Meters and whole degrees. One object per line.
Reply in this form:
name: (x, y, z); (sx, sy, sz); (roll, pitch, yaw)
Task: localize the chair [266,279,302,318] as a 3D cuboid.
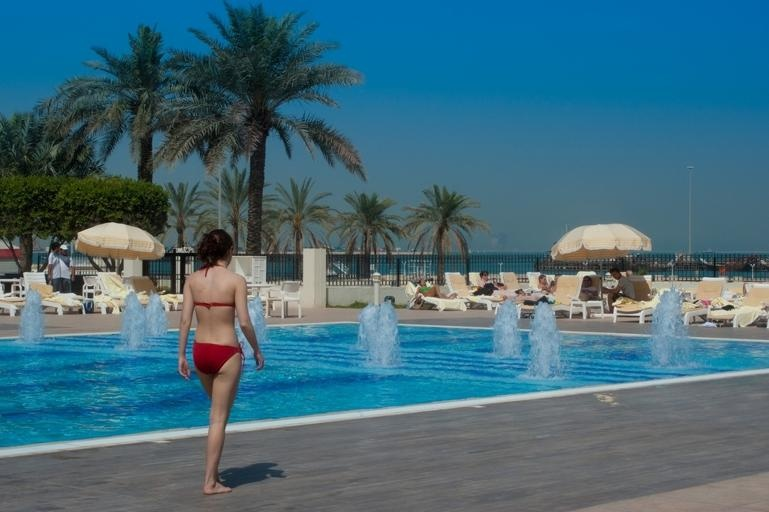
chair: (-3.235, 1.337, 24.097); (1.137, 1.495, 1.164); (-2, -4, 32)

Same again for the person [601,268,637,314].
person: (6.866, 0.996, 22.691); (0.864, 1.347, 2.766); (0, 1, 16)

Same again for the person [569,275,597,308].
person: (6.447, 1.106, 24.431); (1.044, 0.572, 1.284); (5, 12, 39)

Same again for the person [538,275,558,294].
person: (5.612, 0.984, 26.530); (0.484, 0.769, 0.691); (-2, -4, -39)

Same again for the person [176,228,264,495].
person: (-1.459, 0.870, 6.873); (0.696, 2.239, 0.835); (0, 1, -15)

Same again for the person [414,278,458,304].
person: (1.809, 1.247, 27.526); (1.510, 0.831, 0.744); (-4, -2, 13)

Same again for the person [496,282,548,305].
person: (4.995, 1.157, 27.922); (1.116, 0.621, 1.446); (4, 13, -41)
